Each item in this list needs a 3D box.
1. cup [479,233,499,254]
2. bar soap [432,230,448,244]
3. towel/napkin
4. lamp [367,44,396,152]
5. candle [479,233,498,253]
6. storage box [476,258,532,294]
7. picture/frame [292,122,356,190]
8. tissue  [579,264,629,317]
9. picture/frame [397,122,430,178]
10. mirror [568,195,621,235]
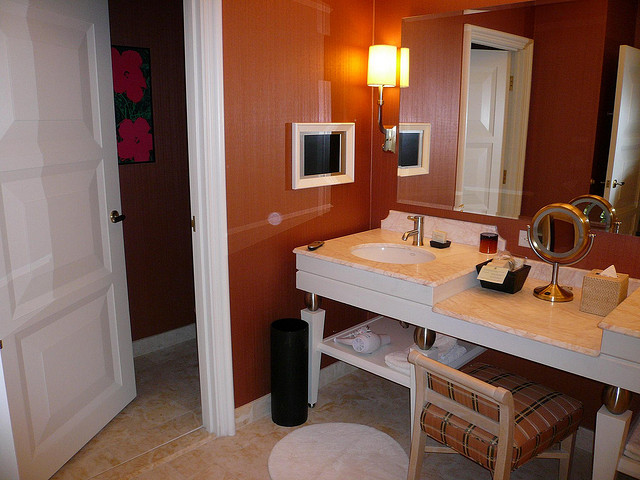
[{"bbox_3d":[0.928,0.021,2.650,0.101,0.117,0.101,0,13,0],"label":"cup"},{"bbox_3d":[0.692,-0.020,2.730,0.061,0.082,0.110,1,7,-34],"label":"bar soap"},{"bbox_3d":[0.597,0.605,2.511,0.223,0.091,0.294,12,18,42],"label":"towel/napkin"},{"bbox_3d":[0.392,-0.888,2.993,0.186,0.651,0.216,1,16,6],"label":"lamp"},{"bbox_3d":[0.929,0.017,2.649,0.100,0.115,0.099,-10,16,-37],"label":"candle"},{"bbox_3d":[0.940,0.147,2.341,0.203,0.109,0.165,-14,18,-41],"label":"storage box"},{"bbox_3d":[0.021,-0.525,2.899,0.506,0.380,0.054,-13,19,-43],"label":"picture/frame"},{"bbox_3d":[1.263,0.225,2.087,0.152,0.199,0.147,14,22,42],"label":"tissue "},{"bbox_3d":[0.569,-0.566,2.947,0.201,0.277,0.029,8,11,40],"label":"picture/frame"},{"bbox_3d":[1.333,-0.118,2.269,0.030,0.186,0.148,-21,29,-37],"label":"mirror"}]
